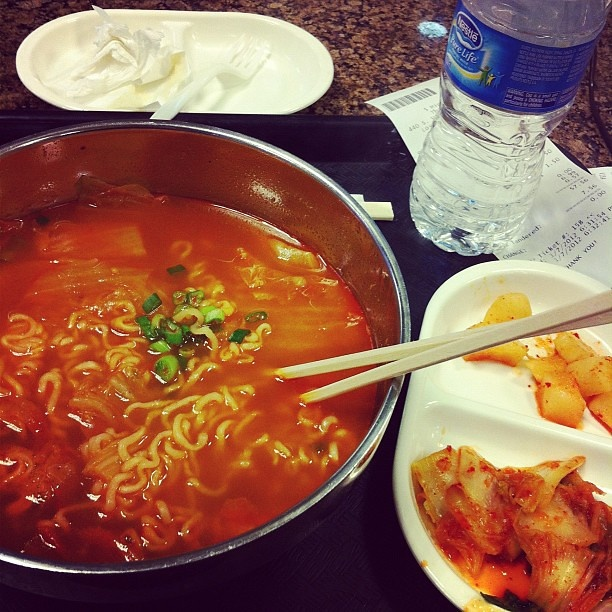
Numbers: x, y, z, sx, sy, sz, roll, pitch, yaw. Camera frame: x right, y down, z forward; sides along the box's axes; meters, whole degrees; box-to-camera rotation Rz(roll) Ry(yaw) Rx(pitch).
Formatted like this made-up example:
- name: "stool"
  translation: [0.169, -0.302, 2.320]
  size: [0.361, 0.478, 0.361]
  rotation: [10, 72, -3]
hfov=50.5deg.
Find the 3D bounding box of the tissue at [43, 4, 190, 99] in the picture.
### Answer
- name: "tissue"
  translation: [-0.826, -1.121, 2.832]
  size: [0.610, 0.216, 0.523]
  rotation: [-2, 55, -4]
